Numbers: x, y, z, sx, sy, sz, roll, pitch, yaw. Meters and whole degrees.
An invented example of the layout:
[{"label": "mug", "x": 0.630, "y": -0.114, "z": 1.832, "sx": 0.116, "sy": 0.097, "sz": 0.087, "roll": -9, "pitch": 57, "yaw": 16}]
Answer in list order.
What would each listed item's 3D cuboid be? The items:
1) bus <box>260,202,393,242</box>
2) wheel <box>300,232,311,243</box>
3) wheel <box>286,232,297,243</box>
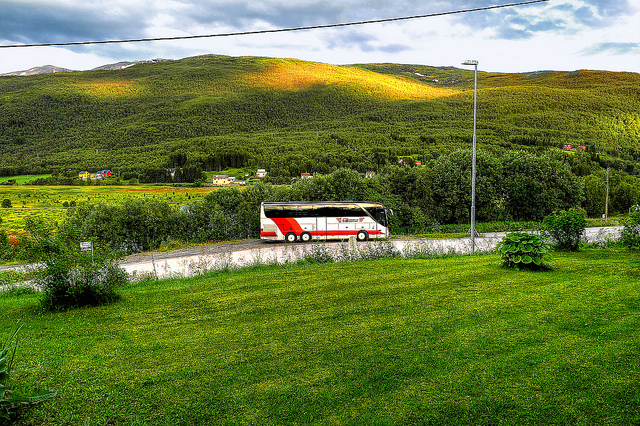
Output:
[{"label": "bus", "x": 2.604, "y": 0.671, "z": 55.873, "sx": 18.007, "sy": 5.325, "sz": 4.671, "roll": -1, "pitch": 2, "yaw": -3}, {"label": "wheel", "x": -1.490, "y": 2.433, "z": 53.691, "sx": 0.997, "sy": 0.991, "sz": 0.380, "roll": 0, "pitch": 8, "yaw": 2}, {"label": "wheel", "x": -2.945, "y": 2.459, "z": 53.549, "sx": 0.844, "sy": 0.840, "sz": 0.323, "roll": -18, "pitch": 13, "yaw": 2}]
